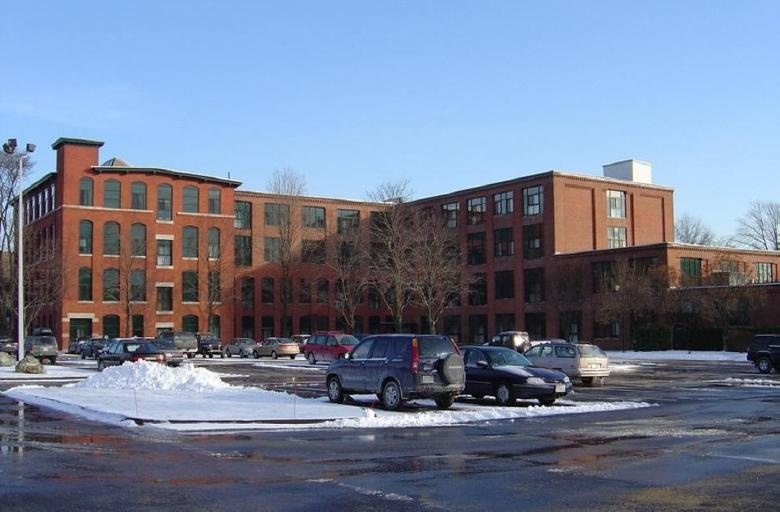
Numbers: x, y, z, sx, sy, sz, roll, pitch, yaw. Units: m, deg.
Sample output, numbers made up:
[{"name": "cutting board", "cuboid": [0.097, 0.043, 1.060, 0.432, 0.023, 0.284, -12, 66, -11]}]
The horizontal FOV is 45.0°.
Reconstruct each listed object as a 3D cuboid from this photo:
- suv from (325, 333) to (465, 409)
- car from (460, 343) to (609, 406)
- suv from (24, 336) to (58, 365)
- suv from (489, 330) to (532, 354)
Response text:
[{"name": "suv", "cuboid": [0.083, 4.117, 34.639, 2.537, 1.937, 4.523, 5, -3, -42]}, {"name": "car", "cuboid": [4.612, 4.515, 35.732, 3.621, 2.208, 1.563, -7, -11, 36]}, {"name": "suv", "cuboid": [-23.852, 6.367, 64.890, 2.155, 2.095, 4.278, 2, 1, -30]}, {"name": "suv", "cuboid": [7.733, 5.278, 58.690, 1.987, 1.108, 1.366, -2, 1, -24]}]
